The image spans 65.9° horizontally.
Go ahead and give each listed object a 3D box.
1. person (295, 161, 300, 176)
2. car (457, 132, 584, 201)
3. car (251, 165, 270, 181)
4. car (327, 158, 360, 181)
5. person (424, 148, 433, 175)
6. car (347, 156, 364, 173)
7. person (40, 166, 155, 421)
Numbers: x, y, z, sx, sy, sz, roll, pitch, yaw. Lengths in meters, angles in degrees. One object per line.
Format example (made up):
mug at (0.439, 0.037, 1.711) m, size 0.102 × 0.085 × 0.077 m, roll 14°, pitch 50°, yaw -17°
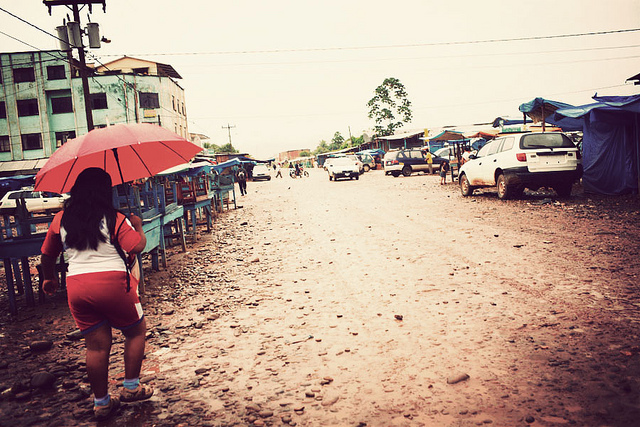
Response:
person at (-2.248, -4.351, 48.195) m, size 0.401 × 1.121 × 1.396 m, roll -7°, pitch 8°, yaw -2°
car at (6.256, -1.537, 15.512) m, size 2.845 × 2.004 × 4.347 m, roll -9°, pitch 9°, yaw -19°
car at (-5.884, -3.993, 48.533) m, size 1.623 × 1.408 × 2.089 m, roll -8°, pitch 8°, yaw -9°
car at (1.588, -3.022, 33.601) m, size 1.682 × 1.468 × 2.170 m, roll -8°, pitch 8°, yaw -10°
person at (6.881, -3.242, 31.405) m, size 0.504 × 1.434 × 2.231 m, roll -5°, pitch 8°, yaw 12°
car at (3.292, -4.321, 43.234) m, size 1.299 × 0.968 × 1.980 m, roll -1°, pitch 2°, yaw -7°
person at (-2.477, 0.886, 5.663) m, size 1.105 × 2.806 × 0.521 m, roll -9°, pitch 8°, yaw -14°
